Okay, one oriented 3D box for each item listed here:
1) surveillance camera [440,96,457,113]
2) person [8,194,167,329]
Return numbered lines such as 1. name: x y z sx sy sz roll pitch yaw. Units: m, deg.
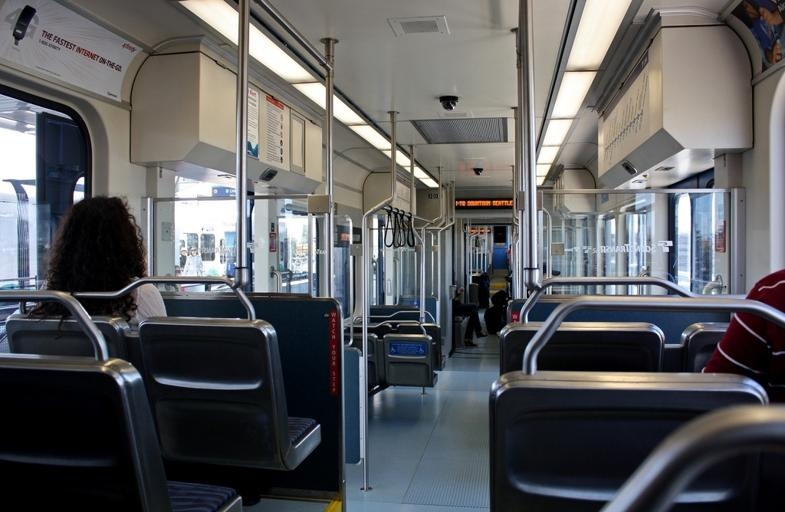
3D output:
1. surveillance camera: 0.613 -1.659 6.021 0.128 0.090 0.127 0 -1 -3
2. person: -1.881 0.031 3.315 0.803 0.773 0.466 4 12 -2
